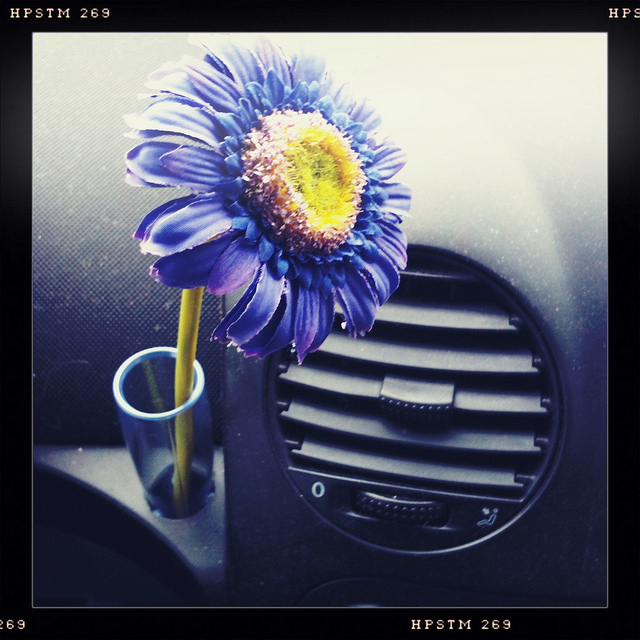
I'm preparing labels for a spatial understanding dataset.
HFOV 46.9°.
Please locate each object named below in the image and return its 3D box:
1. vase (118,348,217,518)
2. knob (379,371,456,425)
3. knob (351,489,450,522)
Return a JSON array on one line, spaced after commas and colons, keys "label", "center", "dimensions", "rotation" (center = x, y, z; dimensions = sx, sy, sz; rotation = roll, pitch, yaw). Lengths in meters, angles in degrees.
[{"label": "vase", "center": [-0.210, 0.160, 1.093], "dimensions": [0.141, 0.249, 0.154], "rotation": [4, 16, 15]}, {"label": "knob", "center": [0.133, 0.108, 1.015], "dimensions": [0.103, 0.062, 0.021], "rotation": [4, 22, 2]}, {"label": "knob", "center": [0.110, 0.260, 1.025], "dimensions": [0.134, 0.031, 0.014], "rotation": [5, 22, 5]}]
